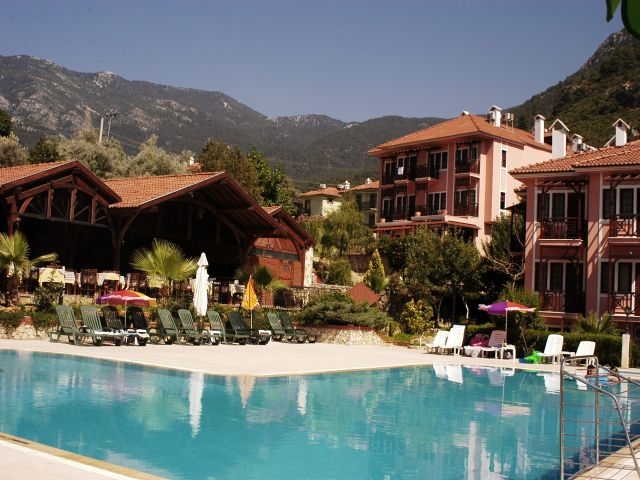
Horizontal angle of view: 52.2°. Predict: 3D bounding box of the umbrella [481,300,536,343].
[{"bbox_3d":[8.471,3.891,29.610,2.611,2.492,2.691,1,-2,4],"label":"umbrella"}]
